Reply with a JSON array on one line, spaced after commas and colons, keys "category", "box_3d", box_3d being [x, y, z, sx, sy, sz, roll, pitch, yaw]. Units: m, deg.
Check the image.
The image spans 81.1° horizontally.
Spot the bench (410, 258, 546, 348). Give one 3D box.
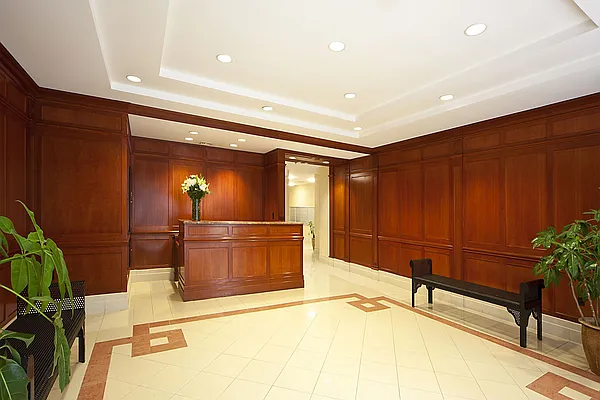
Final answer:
[{"category": "bench", "box_3d": [3.006, 1.704, 6.270, 0.611, 0.887, 2.326, -1, 1, -29]}]

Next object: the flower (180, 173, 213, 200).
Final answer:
[{"category": "flower", "box_3d": [-2.123, -0.341, 7.173, 0.369, 0.323, 0.354, -15, 12, -32]}]

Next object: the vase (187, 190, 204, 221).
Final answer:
[{"category": "vase", "box_3d": [-2.173, 0.131, 7.361, 0.283, 0.735, 1.111, -1, 8, -17]}]

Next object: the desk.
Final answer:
[{"category": "desk", "box_3d": [-1.273, 1.310, 7.874, 2.537, 1.508, 1.394, 0, -7, -21]}]
